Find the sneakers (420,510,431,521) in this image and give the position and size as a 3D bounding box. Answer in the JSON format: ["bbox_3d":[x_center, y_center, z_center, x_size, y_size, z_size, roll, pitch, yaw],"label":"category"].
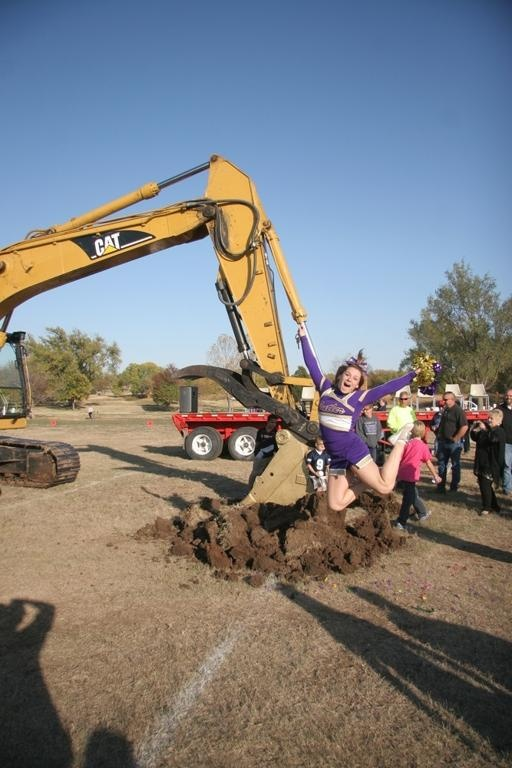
[{"bbox_3d":[2.516,1.943,6.745,0.088,0.113,0.268,-8,-5,29],"label":"sneakers"}]

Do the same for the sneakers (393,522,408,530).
[{"bbox_3d":[1.952,1.919,6.143,0.105,0.141,0.093,-44,-17,0],"label":"sneakers"}]

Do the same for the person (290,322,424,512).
[{"bbox_3d":[0.895,0.328,4.286,1.058,1.848,0.608,-1,-2,18],"label":"person"}]

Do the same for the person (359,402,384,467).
[{"bbox_3d":[2.154,1.029,8.477,0.389,1.492,0.254,-7,23,10],"label":"person"}]

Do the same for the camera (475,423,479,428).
[{"bbox_3d":[3.178,0.590,6.547,0.015,0.058,0.062,7,3,-3],"label":"camera"}]

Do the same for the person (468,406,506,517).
[{"bbox_3d":[3.497,1.189,6.902,0.443,1.600,1.021,-1,-2,26],"label":"person"}]
